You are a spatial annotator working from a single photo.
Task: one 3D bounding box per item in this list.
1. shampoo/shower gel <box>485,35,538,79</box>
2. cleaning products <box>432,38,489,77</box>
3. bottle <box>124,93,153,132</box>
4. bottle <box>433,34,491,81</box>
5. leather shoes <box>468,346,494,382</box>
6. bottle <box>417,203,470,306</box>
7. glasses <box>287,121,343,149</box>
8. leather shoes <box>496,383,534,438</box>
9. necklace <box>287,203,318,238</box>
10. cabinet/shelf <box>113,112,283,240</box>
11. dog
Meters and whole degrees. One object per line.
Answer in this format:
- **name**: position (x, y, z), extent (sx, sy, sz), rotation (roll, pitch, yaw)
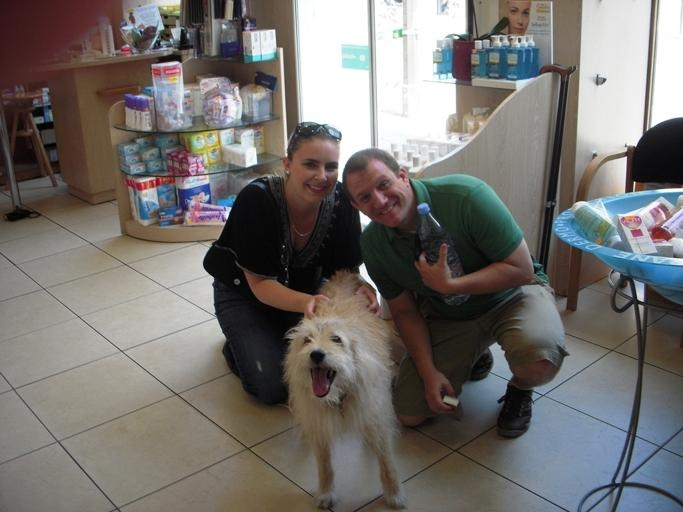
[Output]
- **shampoo/shower gel**: position (0.887, -1.026, 2.757), extent (0.225, 0.261, 0.084), rotation (9, 31, 29)
- **cleaning products**: position (0.643, -1.099, 2.932), extent (0.272, 0.262, 0.213), rotation (-1, 26, 6)
- **bottle**: position (-1.465, -1.036, 3.855), extent (0.123, 0.221, 0.218), rotation (-19, 34, -42)
- **bottle**: position (0.681, -1.122, 3.032), extent (0.201, 0.252, 0.347), rotation (8, 33, 27)
- **leather shoes**: position (0.656, 0.504, 2.550), extent (0.085, 0.101, 0.231), rotation (12, 21, 35)
- **bottle**: position (0.371, 0.011, 1.953), extent (0.204, 0.464, 0.219), rotation (-1, 21, 0)
- **glasses**: position (-0.110, -0.473, 2.083), extent (0.201, 0.094, 0.143), rotation (1, 22, 4)
- **leather shoes**: position (0.683, 0.615, 2.132), extent (0.104, 0.101, 0.236), rotation (1, 34, 24)
- **necklace**: position (-0.168, -0.140, 2.190), extent (0.083, 0.113, 0.095), rotation (-3, 3, -6)
- **cabinet/shelf**: position (-1.079, -0.581, 3.761), extent (0.859, 0.716, 0.423), rotation (-11, 21, -27)
- **dog**: position (0.004, 0.468, 1.916), extent (0.395, 0.669, 0.515), rotation (-2, 22, -2)
